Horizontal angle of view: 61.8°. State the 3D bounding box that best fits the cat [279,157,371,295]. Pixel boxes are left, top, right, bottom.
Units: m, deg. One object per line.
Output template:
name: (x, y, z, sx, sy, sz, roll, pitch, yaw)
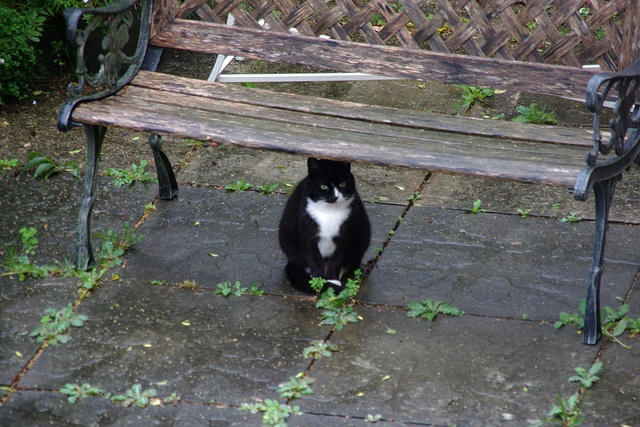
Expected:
cat: (-0.108, 0.010, 3.153, 0.616, 0.837, 0.742, -4, 28, -9)
